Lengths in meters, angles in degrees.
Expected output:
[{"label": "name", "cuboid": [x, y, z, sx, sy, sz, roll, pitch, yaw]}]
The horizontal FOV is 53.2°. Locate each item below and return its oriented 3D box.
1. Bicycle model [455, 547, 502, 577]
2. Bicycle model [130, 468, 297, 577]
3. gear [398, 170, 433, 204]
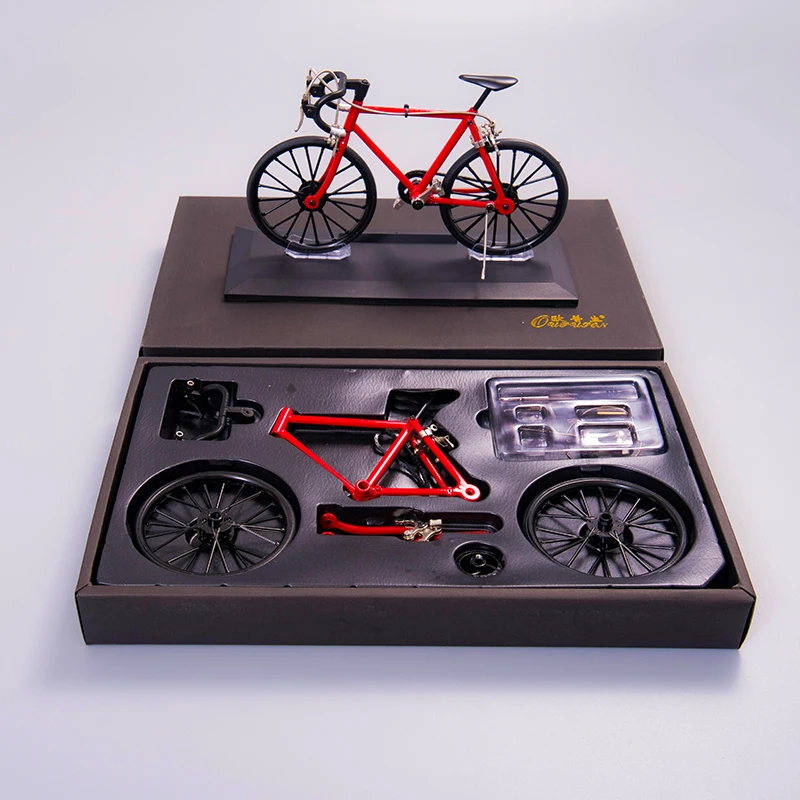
[{"label": "Bicycle model", "cuboid": [0.292, 0.587, 2.920, 0.136, 0.114, 0.034, -8, -39, -5]}, {"label": "Bicycle model", "cuboid": [-0.709, 0.496, 3.041, 0.625, 0.547, 0.120, -3, -51, -25]}, {"label": "gear", "cuboid": [0.068, -1.104, 4.166, 0.193, 0.060, 0.169, -30, -66, -19]}]
